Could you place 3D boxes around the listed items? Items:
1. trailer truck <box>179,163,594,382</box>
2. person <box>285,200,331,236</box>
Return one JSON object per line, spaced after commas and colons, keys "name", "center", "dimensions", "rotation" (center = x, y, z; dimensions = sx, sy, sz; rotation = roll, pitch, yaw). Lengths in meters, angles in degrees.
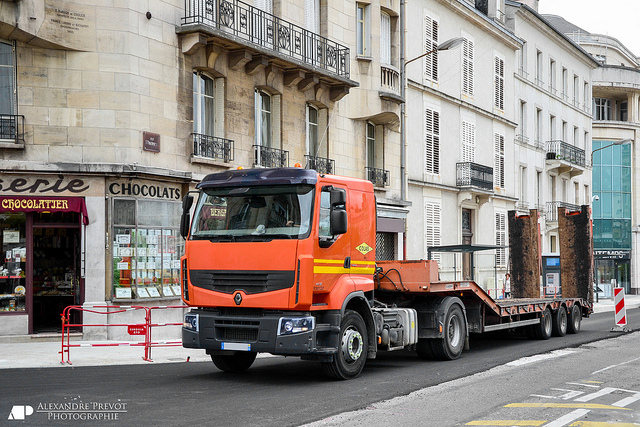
{"name": "trailer truck", "center": [3.426, 2.081, 29.355], "dimensions": [5.080, 5.778, 17.541], "rotation": [-5, -8, 36]}
{"name": "person", "center": [-0.278, 0.201, 23.457], "dimensions": [0.988, 1.015, 0.855], "rotation": [3, -3, -35]}
